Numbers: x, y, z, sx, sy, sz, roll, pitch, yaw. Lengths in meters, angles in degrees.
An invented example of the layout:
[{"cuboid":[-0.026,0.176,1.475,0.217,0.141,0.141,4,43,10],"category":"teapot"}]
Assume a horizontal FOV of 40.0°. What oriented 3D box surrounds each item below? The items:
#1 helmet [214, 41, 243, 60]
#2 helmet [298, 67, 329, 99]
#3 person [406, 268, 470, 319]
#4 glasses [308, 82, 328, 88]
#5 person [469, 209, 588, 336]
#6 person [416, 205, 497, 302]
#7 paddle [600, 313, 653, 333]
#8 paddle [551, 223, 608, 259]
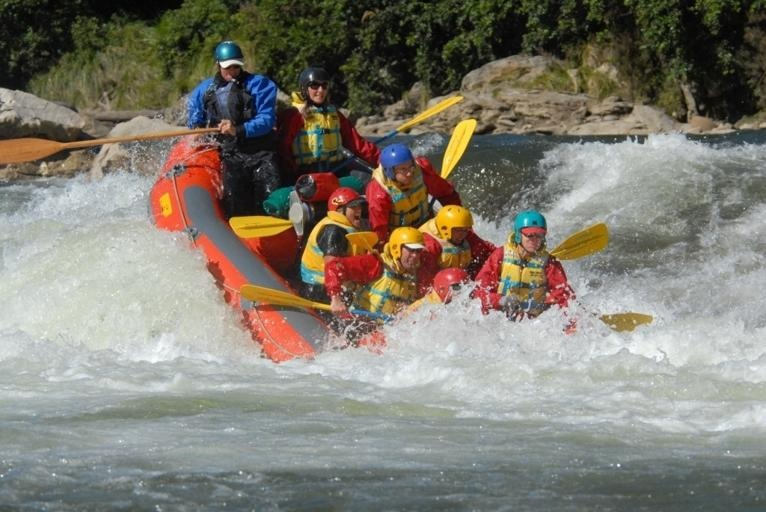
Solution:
[{"cuboid":[-1.857,-2.444,12.542,0.301,0.211,0.277,-10,15,-7],"category":"helmet"},{"cuboid":[-0.847,-2.097,12.773,0.368,0.366,0.253,-8,16,3],"category":"helmet"},{"cuboid":[0.584,0.403,11.586,0.740,0.295,0.396,-36,59,-10],"category":"person"},{"cuboid":[-0.767,-2.060,12.675,0.118,0.033,0.110,-1,-8,-25],"category":"glasses"},{"cuboid":[1.600,0.442,11.837,1.152,1.728,0.965,6,23,12],"category":"person"},{"cuboid":[0.803,0.011,11.925,0.563,0.981,0.765,28,51,32],"category":"person"},{"cuboid":[2.666,0.723,11.489,0.551,0.199,0.107,-8,16,-2],"category":"paddle"},{"cuboid":[2.397,-0.196,12.074,0.904,0.278,0.121,-20,21,-8],"category":"paddle"}]
